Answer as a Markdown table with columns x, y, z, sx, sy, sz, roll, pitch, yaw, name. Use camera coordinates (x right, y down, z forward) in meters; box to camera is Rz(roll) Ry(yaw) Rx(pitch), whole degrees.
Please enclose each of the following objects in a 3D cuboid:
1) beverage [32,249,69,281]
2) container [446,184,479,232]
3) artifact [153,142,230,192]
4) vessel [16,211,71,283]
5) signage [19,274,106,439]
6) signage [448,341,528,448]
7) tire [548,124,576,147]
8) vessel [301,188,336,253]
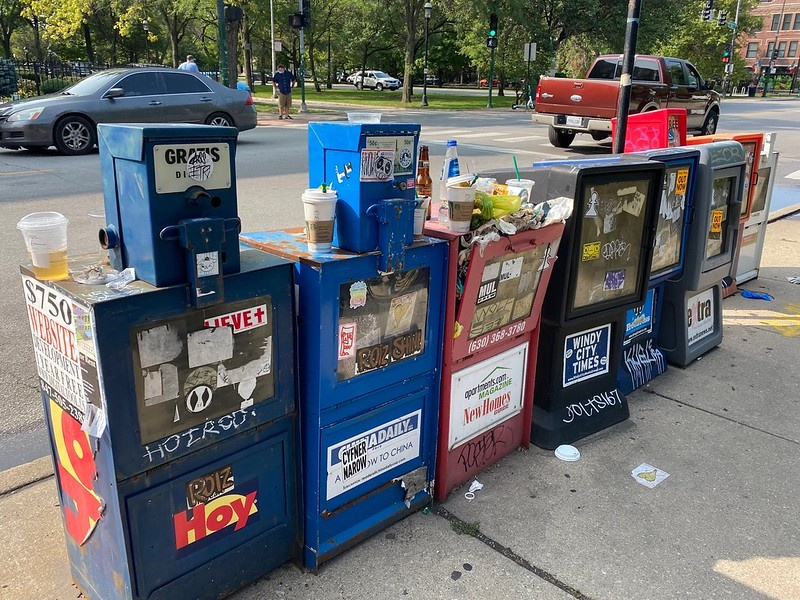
| x | y | z | sx | sy | sz | roll | pitch | yaw | name |
| --- | --- | --- | --- | --- | --- | --- | --- | --- | --- |
| -1.538 | -0.163 | 3.021 | 0.137 | 0.159 | 0.143 | 6 | 13 | 2 | beverage |
| 0.340 | -0.511 | 3.749 | 0.148 | 0.270 | 0.130 | 1 | 22 | 4 | container |
| -0.902 | -0.579 | 2.937 | 0.356 | 0.213 | 0.044 | -18 | 28 | -35 | artifact |
| -1.561 | -0.220 | 2.983 | 0.180 | 0.251 | 0.177 | -14 | 26 | -29 | vessel |
| -1.499 | 0.247 | 3.012 | 0.666 | 0.634 | 0.112 | 20 | 30 | 40 | signage |
| 0.528 | 0.568 | 4.172 | 0.087 | 0.473 | 0.611 | 17 | 24 | 42 | signage |
| 4.058 | -4.110 | 16.856 | 0.278 | 0.715 | 0.680 | 16 | 11 | 31 | tire |
| -0.402 | -0.423 | 3.442 | 0.170 | 0.306 | 0.272 | -3 | 23 | -7 | vessel |
